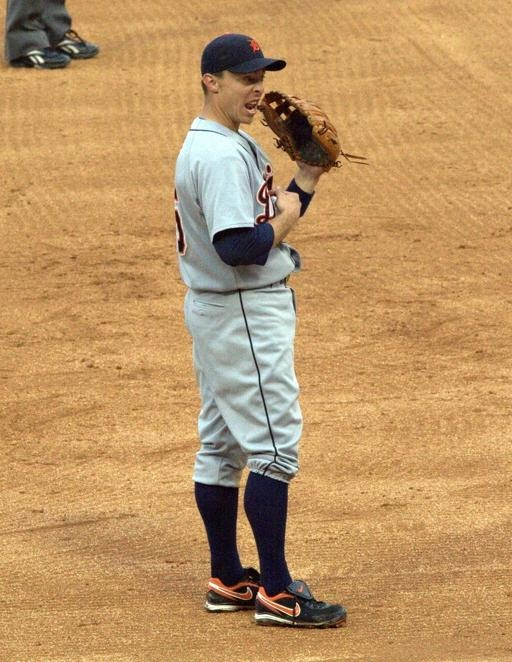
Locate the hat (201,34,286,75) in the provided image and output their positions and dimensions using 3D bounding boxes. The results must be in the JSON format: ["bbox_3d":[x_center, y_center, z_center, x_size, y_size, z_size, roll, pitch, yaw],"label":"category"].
[{"bbox_3d":[-0.067,-1.264,6.681,0.313,0.146,0.194,-8,12,16],"label":"hat"}]

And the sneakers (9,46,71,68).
[{"bbox_3d":[-2.395,-2.995,15.857,0.651,0.272,0.258,-3,36,2],"label":"sneakers"}]

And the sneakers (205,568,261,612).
[{"bbox_3d":[-0.106,1.303,7.085,0.350,0.165,0.131,-3,8,-17],"label":"sneakers"}]

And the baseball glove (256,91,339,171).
[{"bbox_3d":[0.282,-0.911,7.151,0.410,0.704,0.296,11,82,6],"label":"baseball glove"}]

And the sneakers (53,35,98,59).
[{"bbox_3d":[-2.020,-3.185,16.268,0.562,0.260,0.205,6,44,3],"label":"sneakers"}]
